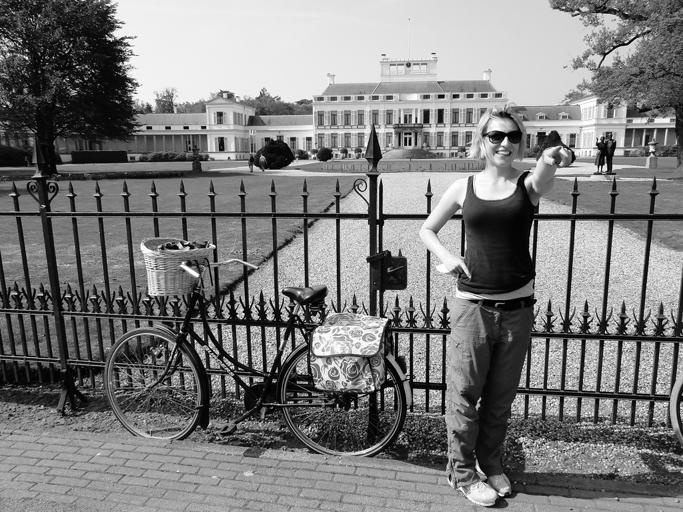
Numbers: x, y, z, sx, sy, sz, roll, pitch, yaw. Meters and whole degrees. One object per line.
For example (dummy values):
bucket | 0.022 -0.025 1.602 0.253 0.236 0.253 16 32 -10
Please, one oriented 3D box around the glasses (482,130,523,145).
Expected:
glasses | 1.166 -0.864 5.147 0.265 0.087 0.072 2 10 13

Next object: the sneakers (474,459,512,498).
sneakers | 1.154 1.673 5.353 0.134 0.127 0.313 -28 50 -35

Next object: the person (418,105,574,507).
person | 1.086 0.364 5.224 0.885 2.864 0.537 1 9 7

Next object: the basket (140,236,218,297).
basket | -1.396 0.064 5.893 0.494 0.417 0.522 1 -1 -18

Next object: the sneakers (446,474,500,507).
sneakers | 0.969 1.705 5.284 0.302 0.130 0.161 14 33 35
